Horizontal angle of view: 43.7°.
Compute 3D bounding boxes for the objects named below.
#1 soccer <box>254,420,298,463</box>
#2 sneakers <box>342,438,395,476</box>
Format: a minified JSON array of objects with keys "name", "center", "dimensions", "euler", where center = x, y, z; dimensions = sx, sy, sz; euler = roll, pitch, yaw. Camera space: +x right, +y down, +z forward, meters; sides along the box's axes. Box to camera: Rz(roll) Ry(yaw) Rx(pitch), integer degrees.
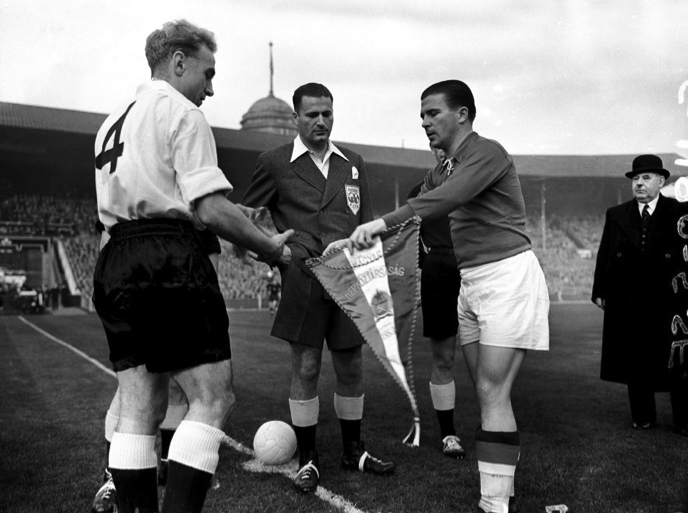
[{"name":"soccer","center":[-0.542,1.509,7.170],"dimensions":[0.325,0.355,0.335],"euler":[6,0,34]},{"name":"sneakers","center":[0.204,1.686,7.235],"dimensions":[0.540,0.269,0.188],"euler":[-2,-3,31]}]
